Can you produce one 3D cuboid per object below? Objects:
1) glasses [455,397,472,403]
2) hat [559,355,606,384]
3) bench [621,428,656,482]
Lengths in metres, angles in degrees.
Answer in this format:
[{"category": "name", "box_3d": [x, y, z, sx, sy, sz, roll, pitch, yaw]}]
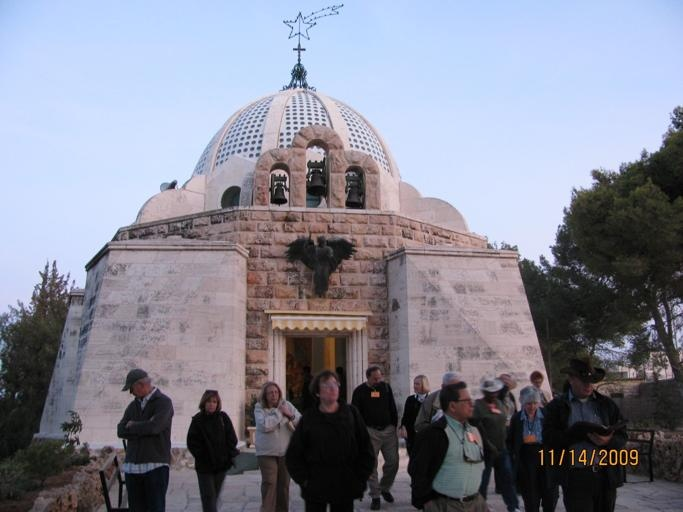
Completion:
[{"category": "glasses", "box_3d": [1.345, 1.555, 7.314, 0.216, 0.057, 0.070, 17, -32, -37]}, {"category": "hat", "box_3d": [2.810, 1.422, 7.893, 0.467, 0.215, 0.389, 9, 9, 14]}, {"category": "bench", "box_3d": [5.285, 3.503, 12.034, 0.535, 1.002, 1.539, -8, -18, 22]}]
